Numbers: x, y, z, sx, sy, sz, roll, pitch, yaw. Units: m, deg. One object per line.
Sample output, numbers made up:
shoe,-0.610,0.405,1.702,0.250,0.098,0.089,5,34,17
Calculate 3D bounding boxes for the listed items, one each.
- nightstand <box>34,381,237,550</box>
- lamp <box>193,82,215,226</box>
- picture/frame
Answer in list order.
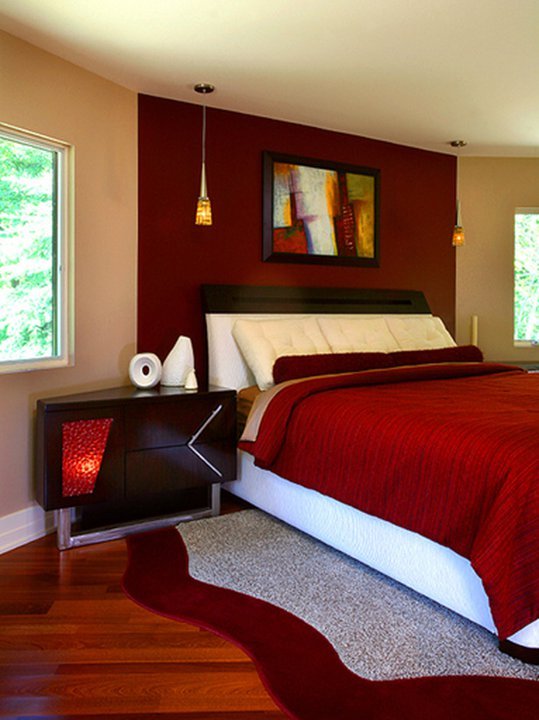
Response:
nightstand,-0.648,0.381,2.645,1.086,0.728,0.626,-3,4,-33
lamp,-0.376,-1.136,3.251,0.114,0.807,0.469,-1,0,-9
picture/frame,0.365,-1.026,3.919,1.031,0.708,0.044,19,32,40
